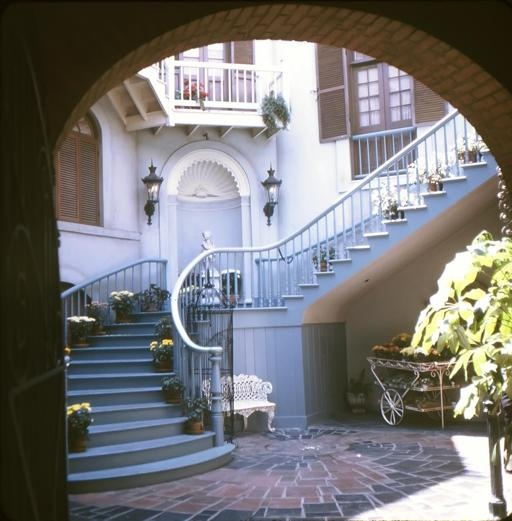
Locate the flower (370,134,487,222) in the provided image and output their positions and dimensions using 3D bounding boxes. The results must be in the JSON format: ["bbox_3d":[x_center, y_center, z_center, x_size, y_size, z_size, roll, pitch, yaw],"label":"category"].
[{"bbox_3d":[2.251,-1.023,7.041,1.292,1.536,0.804,0,0,12],"label":"flower"}]

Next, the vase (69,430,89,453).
[{"bbox_3d":[-1.560,1.605,4.808,0.148,0.172,0.154,-2,-1,21],"label":"vase"}]

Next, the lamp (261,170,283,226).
[{"bbox_3d":[0.246,-1.033,9.162,0.324,0.882,0.415,-1,-6,1],"label":"lamp"}]

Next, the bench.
[{"bbox_3d":[-0.229,1.747,6.623,0.884,0.741,0.368,2,-2,-42],"label":"bench"}]

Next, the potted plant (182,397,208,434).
[{"bbox_3d":[-0.632,1.630,5.715,0.250,0.329,0.343,-1,-7,-6],"label":"potted plant"}]

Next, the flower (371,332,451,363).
[{"bbox_3d":[1.965,1.202,7.110,1.018,0.372,1.086,-3,-7,32],"label":"flower"}]

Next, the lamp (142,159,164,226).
[{"bbox_3d":[-1.648,-1.085,8.711,0.320,1.020,0.352,0,-6,-12],"label":"lamp"}]

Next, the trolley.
[{"bbox_3d":[2.103,1.736,7.436,0.803,1.059,1.396,2,-5,-23],"label":"trolley"}]

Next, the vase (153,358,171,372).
[{"bbox_3d":[-1.097,1.225,6.454,0.148,0.112,0.165,1,-8,-11],"label":"vase"}]

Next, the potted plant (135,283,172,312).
[{"bbox_3d":[-1.513,0.591,8.052,0.370,0.320,0.413,0,-7,-4],"label":"potted plant"}]

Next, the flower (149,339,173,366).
[{"bbox_3d":[-1.134,1.076,6.505,0.251,0.303,0.278,0,1,-26],"label":"flower"}]

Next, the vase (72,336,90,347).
[{"bbox_3d":[-2.243,1.028,7.002,0.098,0.105,0.140,0,-1,19],"label":"vase"}]

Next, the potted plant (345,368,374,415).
[{"bbox_3d":[1.581,2.004,8.469,0.409,0.700,0.363,4,1,-41],"label":"potted plant"}]

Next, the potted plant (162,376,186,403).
[{"bbox_3d":[-0.903,1.406,5.962,0.221,0.255,0.234,-2,-4,34],"label":"potted plant"}]
